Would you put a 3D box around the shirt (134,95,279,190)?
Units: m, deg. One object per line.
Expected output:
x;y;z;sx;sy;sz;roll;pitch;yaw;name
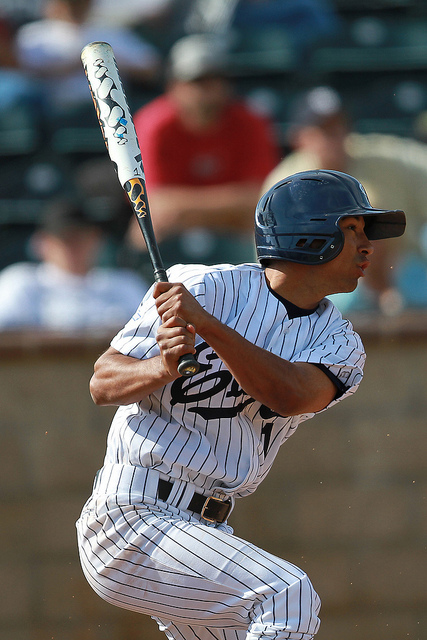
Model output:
-0.026;-0.659;3.395;0.432;0.379;0.641;-4;10;32;shirt
